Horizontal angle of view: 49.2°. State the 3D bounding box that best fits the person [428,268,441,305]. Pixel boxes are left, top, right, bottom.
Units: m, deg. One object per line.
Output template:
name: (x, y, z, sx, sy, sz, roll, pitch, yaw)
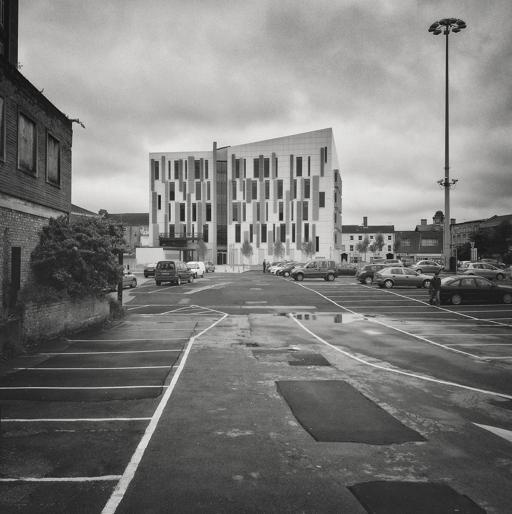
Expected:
person: (8.339, 1.497, 26.270, 0.506, 1.542, 2.070, 1, 1, 17)
